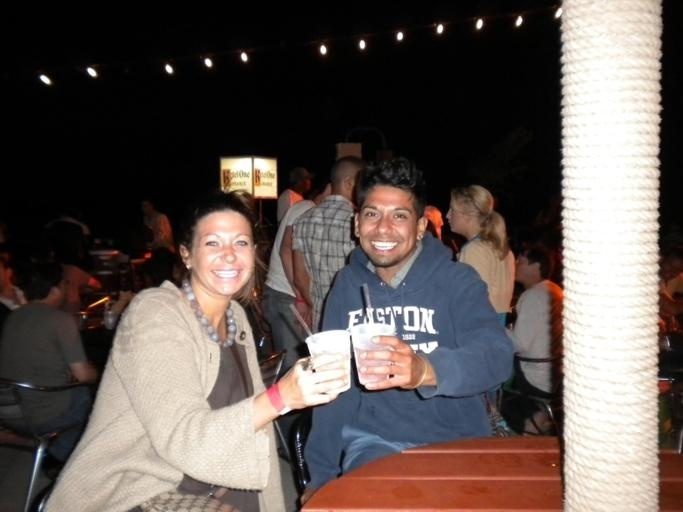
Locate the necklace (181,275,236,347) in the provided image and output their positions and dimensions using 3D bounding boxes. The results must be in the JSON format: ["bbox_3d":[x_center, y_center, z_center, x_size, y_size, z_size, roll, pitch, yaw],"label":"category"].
[{"bbox_3d":[-0.663,0.295,2.601,0.073,0.327,0.262,-30,4,18],"label":"necklace"}]

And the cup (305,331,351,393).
[{"bbox_3d":[-0.041,0.415,2.084,0.219,0.226,0.218,-5,-4,0],"label":"cup"}]

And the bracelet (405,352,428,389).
[{"bbox_3d":[0.328,0.477,2.191,0.070,0.166,0.186,1,7,16],"label":"bracelet"}]
